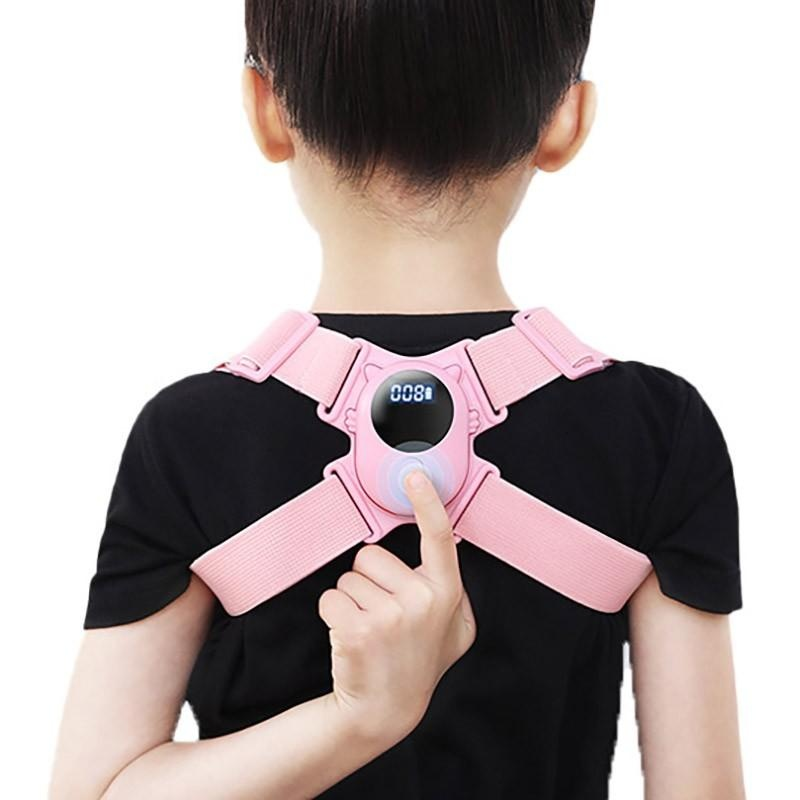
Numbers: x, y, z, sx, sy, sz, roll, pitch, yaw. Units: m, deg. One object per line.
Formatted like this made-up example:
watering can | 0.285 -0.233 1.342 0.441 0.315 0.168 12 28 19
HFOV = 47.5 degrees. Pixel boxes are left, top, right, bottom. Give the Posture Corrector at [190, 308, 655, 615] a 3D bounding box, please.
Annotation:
Posture Corrector | 0.014 0.131 1.980 0.996 0.521 0.314 1 -5 -4
